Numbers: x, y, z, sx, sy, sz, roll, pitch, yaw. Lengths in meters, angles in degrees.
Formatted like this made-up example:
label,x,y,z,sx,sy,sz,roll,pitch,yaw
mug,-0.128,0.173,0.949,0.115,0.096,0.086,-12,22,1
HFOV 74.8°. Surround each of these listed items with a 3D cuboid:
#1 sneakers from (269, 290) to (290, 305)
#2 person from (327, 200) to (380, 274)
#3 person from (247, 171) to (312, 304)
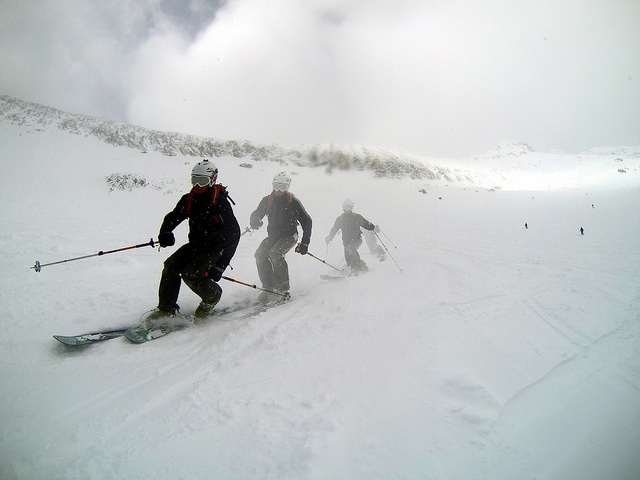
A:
label,x,y,z,sx,sy,sz,roll,pitch,yaw
sneakers,-0.871,1.234,9.000,0.180,0.270,0.633,-7,-2,13
person,1.081,-0.054,13.673,1.481,1.099,2.416,-28,36,20
person,-0.911,-0.188,9.518,1.356,2.083,0.886,-4,2,-2
